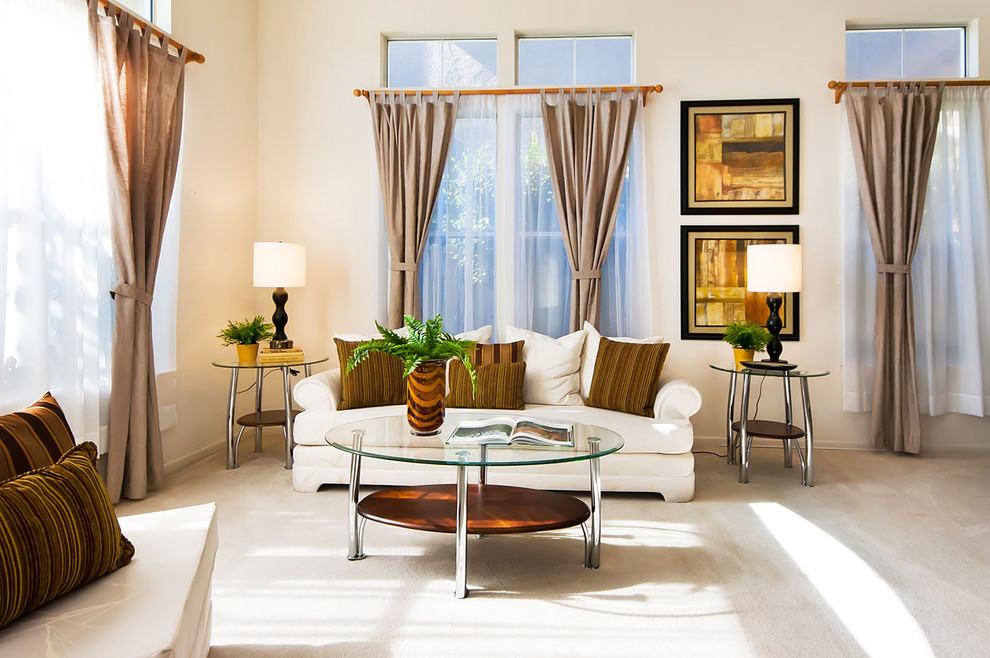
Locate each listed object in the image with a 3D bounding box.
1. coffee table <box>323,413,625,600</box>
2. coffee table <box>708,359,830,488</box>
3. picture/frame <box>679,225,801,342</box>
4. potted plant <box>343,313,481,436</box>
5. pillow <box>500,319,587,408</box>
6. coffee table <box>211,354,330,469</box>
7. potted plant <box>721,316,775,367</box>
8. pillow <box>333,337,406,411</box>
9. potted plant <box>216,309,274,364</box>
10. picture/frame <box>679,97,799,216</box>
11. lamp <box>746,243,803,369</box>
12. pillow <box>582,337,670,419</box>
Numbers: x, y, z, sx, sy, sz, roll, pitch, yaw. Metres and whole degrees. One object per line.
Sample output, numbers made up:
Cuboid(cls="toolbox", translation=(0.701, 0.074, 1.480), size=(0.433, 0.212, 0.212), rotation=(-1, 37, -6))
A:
Cuboid(cls="coffee table", translation=(-0.126, 0.950, 4.669), size=(1.184, 0.548, 1.193), rotation=(0, 1, 0))
Cuboid(cls="coffee table", translation=(2.172, 0.701, 6.376), size=(0.947, 0.982, 0.937), rotation=(3, 8, 21))
Cuboid(cls="picture/frame", translation=(2.059, -0.420, 6.623), size=(0.971, 0.999, 0.086), rotation=(0, 0, 5))
Cuboid(cls="potted plant", translation=(-0.505, 0.217, 5.032), size=(0.788, 0.683, 0.803), rotation=(0, 3, 1))
Cuboid(cls="pillow", translation=(0.474, 0.286, 6.309), size=(0.890, 0.796, 0.477), rotation=(0, 4, 14))
Cuboid(cls="coffee table", translation=(-1.818, 0.646, 6.559), size=(0.897, 0.799, 0.847), rotation=(1, 1, -16))
Cuboid(cls="potted plant", translation=(1.978, 0.090, 6.296), size=(0.345, 0.365, 0.340), rotation=(1, 0, 2))
Cuboid(cls="pillow", translation=(-0.893, 0.347, 5.749), size=(0.496, 0.468, 0.177), rotation=(0, -22, -19))
Cuboid(cls="potted plant", translation=(-1.987, 0.096, 6.314), size=(0.331, 0.349, 0.383), rotation=(2, 15, 6))
Cuboid(cls="picture/frame", translation=(2.117, -1.492, 6.797), size=(0.980, 1.003, 0.068), rotation=(0, 0, 1))
Cuboid(cls="lamp", translation=(2.218, -0.251, 6.385), size=(0.404, 0.909, 0.652), rotation=(7, 16, 23))
Cuboid(cls="pillow", translation=(0.980, 0.351, 5.943), size=(0.558, 0.547, 0.167), rotation=(9, -9, 43))
